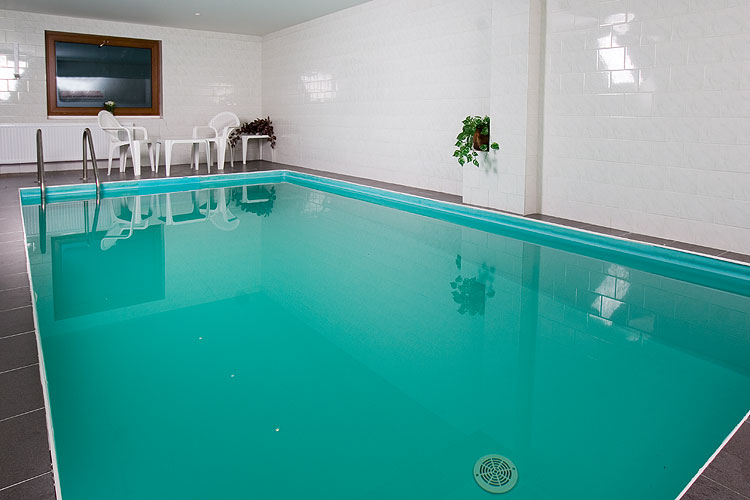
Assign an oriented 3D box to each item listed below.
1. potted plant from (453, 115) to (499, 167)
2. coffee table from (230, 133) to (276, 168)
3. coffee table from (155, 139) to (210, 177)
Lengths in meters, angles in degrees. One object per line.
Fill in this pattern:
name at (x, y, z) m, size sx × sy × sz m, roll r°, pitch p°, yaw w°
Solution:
potted plant at (1.524, -1.681, 6.447) m, size 0.766 × 0.587 × 0.770 m, roll -7°, pitch 12°, yaw -27°
coffee table at (-3.473, -2.844, 11.599) m, size 0.826 × 0.626 × 0.822 m, roll 11°, pitch 9°, yaw -15°
coffee table at (-4.629, -2.243, 9.875) m, size 1.215 × 0.735 × 1.230 m, roll 1°, pitch 10°, yaw 1°
